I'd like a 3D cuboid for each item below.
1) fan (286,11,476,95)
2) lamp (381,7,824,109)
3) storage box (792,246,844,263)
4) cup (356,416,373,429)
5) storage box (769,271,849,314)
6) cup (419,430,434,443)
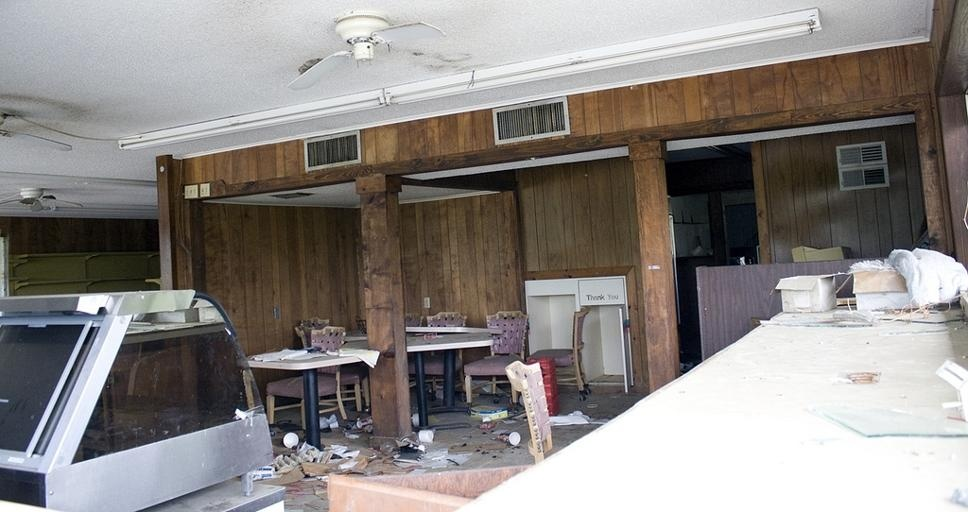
[{"bbox_3d":[-1.014,-1.769,5.694,1.428,0.511,1.169,-4,4,0],"label":"fan"},{"bbox_3d":[1.174,-1.854,6.034,4.552,0.243,0.415,-5,3,21],"label":"lamp"},{"bbox_3d":[3.770,-0.024,7.462,0.240,0.134,0.492,-6,5,-27],"label":"storage box"},{"bbox_3d":[-1.513,2.112,8.288,0.156,0.143,0.413,1,2,-6],"label":"cup"},{"bbox_3d":[3.024,0.349,6.119,0.440,0.234,0.570,-3,0,-45],"label":"storage box"},{"bbox_3d":[-0.665,2.065,7.483,0.164,0.113,0.120,1,-7,3],"label":"cup"}]
